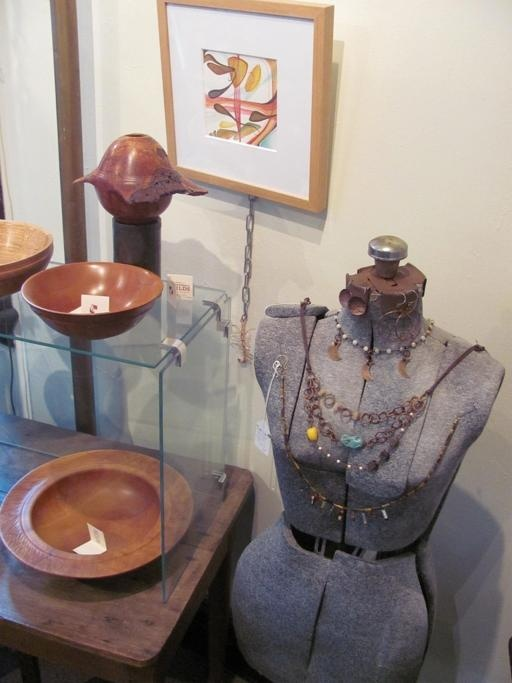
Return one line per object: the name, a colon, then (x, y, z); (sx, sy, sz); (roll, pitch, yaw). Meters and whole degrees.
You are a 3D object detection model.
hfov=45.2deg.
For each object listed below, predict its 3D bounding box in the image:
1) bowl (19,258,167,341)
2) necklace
bowl: (-0.297, -0.063, 1.110); (0.245, 0.108, 0.257); (2, 19, -1)
necklace: (0.172, 0.126, 1.028); (0.351, 0.323, 0.093); (7, -11, 25)
